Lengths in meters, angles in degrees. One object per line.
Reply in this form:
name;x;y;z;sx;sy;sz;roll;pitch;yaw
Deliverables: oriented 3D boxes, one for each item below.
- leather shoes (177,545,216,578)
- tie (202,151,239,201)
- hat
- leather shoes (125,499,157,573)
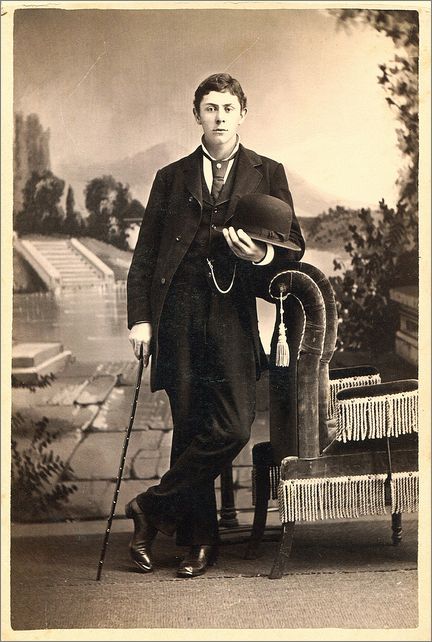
leather shoes;-0.078;0.915;3.092;0.087;0.076;0.168;3;1;22
tie;0.010;-0.568;3.199;0.116;0.183;0.049;2;-9;7
hat;0.156;-0.388;3.138;0.415;0.187;0.412;12;5;0
leather shoes;-0.300;0.826;3.126;0.143;0.174;0.104;3;1;13
